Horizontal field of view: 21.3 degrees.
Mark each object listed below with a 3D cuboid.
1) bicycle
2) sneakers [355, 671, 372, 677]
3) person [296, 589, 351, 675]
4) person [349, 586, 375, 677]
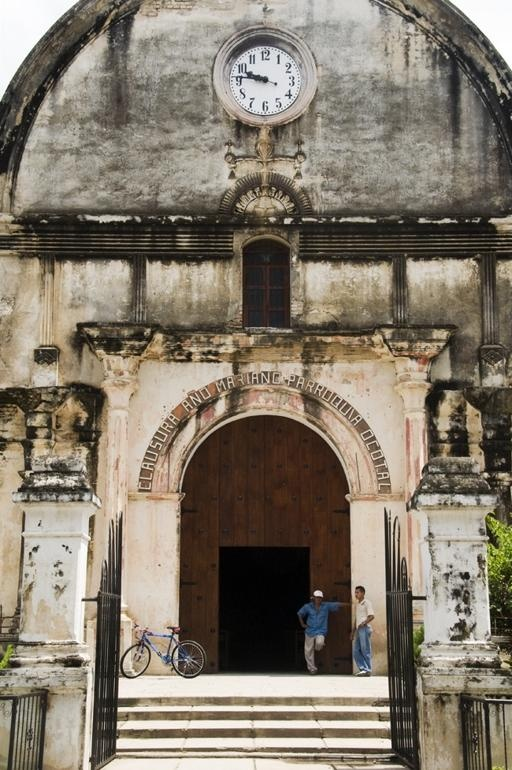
[{"bbox_3d":[-1.119,3.114,15.949,1.030,0.764,0.445,1,-10,1],"label":"bicycle"},{"bbox_3d":[1.255,3.359,15.986,0.193,0.096,0.072,-2,-6,-5],"label":"sneakers"},{"bbox_3d":[0.795,2.986,16.776,0.568,1.060,0.835,-2,-21,3],"label":"person"},{"bbox_3d":[1.262,2.936,16.201,0.266,1.077,0.695,-2,-21,4],"label":"person"}]
